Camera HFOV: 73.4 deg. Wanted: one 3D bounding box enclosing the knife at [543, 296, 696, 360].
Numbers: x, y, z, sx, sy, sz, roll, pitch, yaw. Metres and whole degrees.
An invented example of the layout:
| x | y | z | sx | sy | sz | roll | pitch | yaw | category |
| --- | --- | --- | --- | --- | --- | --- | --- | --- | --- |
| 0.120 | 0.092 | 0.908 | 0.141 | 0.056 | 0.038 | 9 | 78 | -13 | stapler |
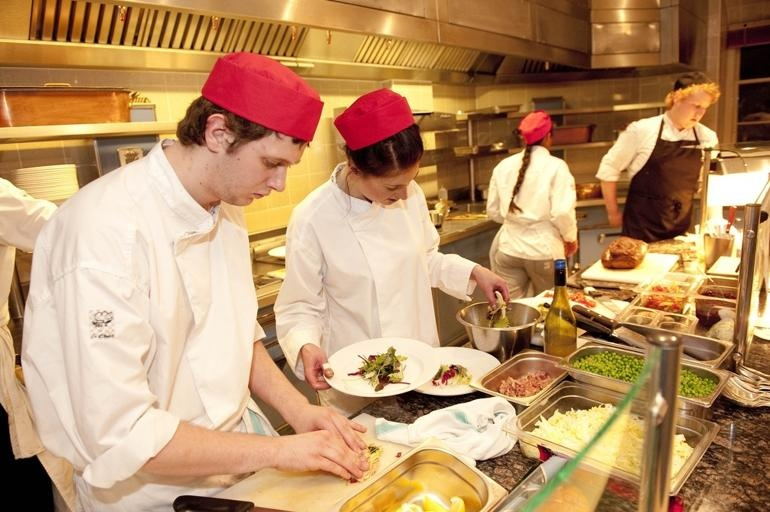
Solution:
| x | y | z | sx | sy | sz | roll | pitch | yaw | category |
| --- | --- | --- | --- | --- | --- | --- | --- | --- | --- |
| 0.877 | 0.274 | 1.936 | 0.096 | 0.048 | 0.557 | -17 | 20 | -21 | knife |

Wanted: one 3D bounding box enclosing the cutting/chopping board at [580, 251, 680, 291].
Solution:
| x | y | z | sx | sy | sz | roll | pitch | yaw | category |
| --- | --- | --- | --- | --- | --- | --- | --- | --- | --- |
| 1.364 | 0.079 | 2.812 | 0.656 | 0.101 | 0.445 | -11 | 11 | -41 | cutting/chopping board |

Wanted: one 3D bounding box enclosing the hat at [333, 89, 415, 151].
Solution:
| x | y | z | sx | sy | sz | roll | pitch | yaw | category |
| --- | --- | --- | --- | --- | --- | --- | --- | --- | --- |
| -0.048 | -0.575 | 2.123 | 0.339 | 0.185 | 0.233 | -15 | 19 | 25 | hat |

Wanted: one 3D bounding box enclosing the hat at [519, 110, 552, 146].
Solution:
| x | y | z | sx | sy | sz | roll | pitch | yaw | category |
| --- | --- | --- | --- | --- | --- | --- | --- | --- | --- |
| 1.144 | -0.968 | 3.885 | 0.220 | 0.114 | 0.293 | -40 | 34 | -10 | hat |

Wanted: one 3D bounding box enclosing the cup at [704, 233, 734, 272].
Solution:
| x | y | z | sx | sy | sz | roll | pitch | yaw | category |
| --- | --- | --- | --- | --- | --- | --- | --- | --- | --- |
| 1.722 | -0.037 | 2.661 | 0.160 | 0.187 | 0.198 | 0 | 1 | 35 | cup |

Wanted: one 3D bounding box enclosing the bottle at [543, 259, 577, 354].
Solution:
| x | y | z | sx | sy | sz | roll | pitch | yaw | category |
| --- | --- | --- | --- | --- | --- | --- | --- | --- | --- |
| 0.686 | 0.180 | 2.020 | 0.123 | 0.398 | 0.369 | -1 | 10 | 19 | bottle |

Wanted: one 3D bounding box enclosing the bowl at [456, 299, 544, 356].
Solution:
| x | y | z | sx | sy | sz | roll | pitch | yaw | category |
| --- | --- | --- | --- | --- | --- | --- | --- | --- | --- |
| 0.464 | 0.305 | 2.092 | 0.253 | 0.108 | 0.245 | 0 | 10 | 0 | bowl |

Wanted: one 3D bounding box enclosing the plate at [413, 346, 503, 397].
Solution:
| x | y | z | sx | sy | sz | roll | pitch | yaw | category |
| --- | --- | --- | --- | --- | --- | --- | --- | --- | --- |
| 0.286 | 0.431 | 1.967 | 0.208 | 0.028 | 0.196 | -10 | 21 | -7 | plate |

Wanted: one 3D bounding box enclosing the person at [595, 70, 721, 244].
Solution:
| x | y | z | sx | sy | sz | roll | pitch | yaw | category |
| --- | --- | --- | --- | --- | --- | --- | --- | --- | --- |
| 2.120 | -0.737 | 4.049 | 0.789 | 1.245 | 0.448 | 2 | 12 | 30 | person |

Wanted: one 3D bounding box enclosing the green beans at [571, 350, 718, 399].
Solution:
| x | y | z | sx | sy | sz | roll | pitch | yaw | category |
| --- | --- | --- | --- | --- | --- | --- | --- | --- | --- |
| 0.901 | 0.391 | 1.797 | 0.413 | 0.067 | 0.233 | 6 | 15 | 36 | green beans |

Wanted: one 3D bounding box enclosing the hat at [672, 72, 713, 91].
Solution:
| x | y | z | sx | sy | sz | roll | pitch | yaw | category |
| --- | --- | --- | --- | --- | --- | --- | --- | --- | --- |
| 2.286 | -1.304 | 3.837 | 0.219 | 0.155 | 0.377 | 1 | 10 | 28 | hat |

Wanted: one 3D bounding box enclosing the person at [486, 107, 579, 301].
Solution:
| x | y | z | sx | sy | sz | roll | pitch | yaw | category |
| --- | --- | --- | --- | --- | --- | --- | --- | --- | --- |
| 1.252 | -0.157 | 4.226 | 0.720 | 1.952 | 0.701 | 9 | 30 | 32 | person |

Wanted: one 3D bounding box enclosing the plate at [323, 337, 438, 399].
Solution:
| x | y | z | sx | sy | sz | roll | pitch | yaw | category |
| --- | --- | --- | --- | --- | --- | --- | --- | --- | --- |
| -0.008 | 0.407 | 1.898 | 0.286 | 0.031 | 0.276 | -18 | 23 | -29 | plate |

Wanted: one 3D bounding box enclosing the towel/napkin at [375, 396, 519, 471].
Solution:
| x | y | z | sx | sy | sz | roll | pitch | yaw | category |
| --- | --- | --- | --- | --- | --- | --- | --- | --- | --- |
| 0.216 | 0.536 | 1.635 | 0.341 | 0.057 | 0.189 | 1 | 21 | 0 | towel/napkin |
